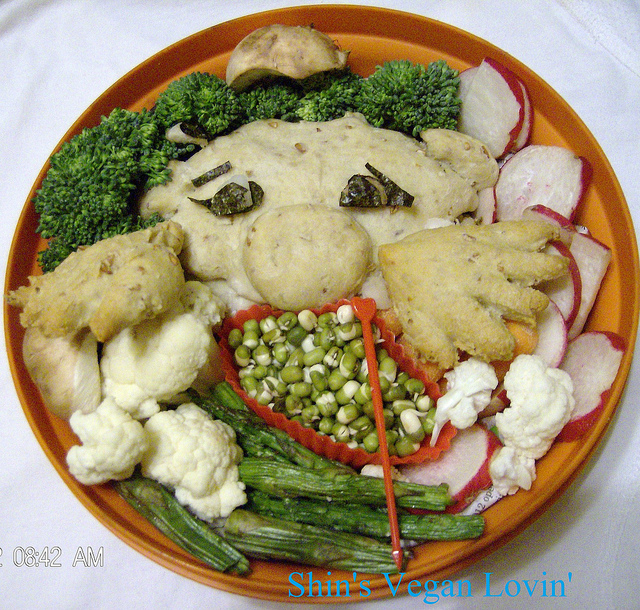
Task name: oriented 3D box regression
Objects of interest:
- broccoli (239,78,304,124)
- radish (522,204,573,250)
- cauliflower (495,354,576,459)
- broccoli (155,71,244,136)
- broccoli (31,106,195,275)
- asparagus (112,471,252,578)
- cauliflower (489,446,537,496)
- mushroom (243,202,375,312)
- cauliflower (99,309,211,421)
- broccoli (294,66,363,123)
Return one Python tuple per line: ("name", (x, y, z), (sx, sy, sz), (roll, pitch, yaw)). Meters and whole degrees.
("broccoli", (-0.207, -0.898, 3.091), (0.221, 0.107, 0.231), (26, 62, 20))
("radish", (0.942, -0.338, 2.890), (0.173, 0.172, 0.065), (38, 94, -8))
("cauliflower", (0.817, 0.390, 2.677), (0.297, 0.169, 0.359), (28, 80, 7))
("broccoli", (-0.505, -0.838, 2.943), (0.252, 0.128, 0.286), (-2, 52, -5))
("broccoli", (-0.846, -0.449, 2.936), (0.571, 0.264, 0.666), (-27, 66, 6))
("asparagus", (-0.508, 0.816, 2.691), (0.559, 0.096, 0.130), (41, 79, 8))
("cauliflower", (0.710, 0.632, 2.709), (0.173, 0.078, 0.176), (43, 72, -31))
("mushroom", (-0.053, -0.195, 2.820), (0.477, 0.176, 0.380), (-9, 78, -1))
("cauliflower", (-0.629, 0.228, 2.707), (0.443, 0.145, 0.333), (-20, 79, -3))
("broccoli", (0.035, -0.919, 3.098), (0.237, 0.112, 0.252), (-17, 76, -5))
